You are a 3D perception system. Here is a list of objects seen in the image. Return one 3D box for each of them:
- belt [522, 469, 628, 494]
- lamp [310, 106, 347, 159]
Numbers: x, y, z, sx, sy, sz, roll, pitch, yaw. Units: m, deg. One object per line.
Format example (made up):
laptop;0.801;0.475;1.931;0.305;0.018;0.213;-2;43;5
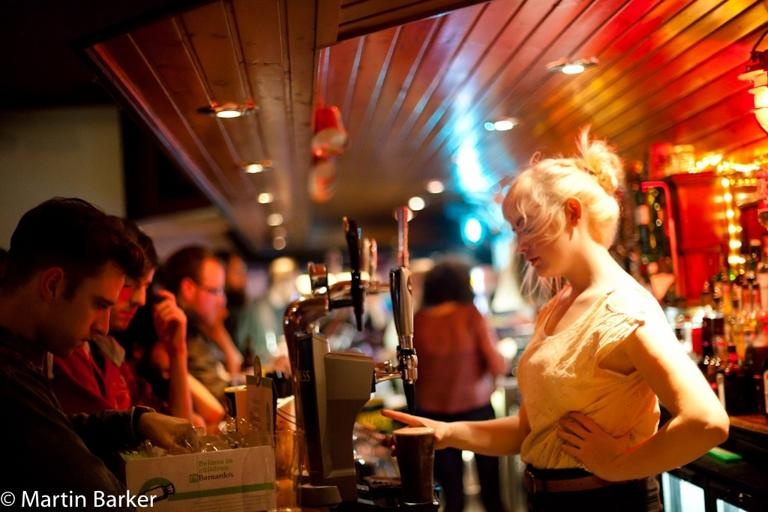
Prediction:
belt;0.675;0.828;2.332;0.350;0.085;0.083;-13;-13;30
lamp;-0.281;-0.639;3.242;0.164;0.294;0.186;-9;22;-20
